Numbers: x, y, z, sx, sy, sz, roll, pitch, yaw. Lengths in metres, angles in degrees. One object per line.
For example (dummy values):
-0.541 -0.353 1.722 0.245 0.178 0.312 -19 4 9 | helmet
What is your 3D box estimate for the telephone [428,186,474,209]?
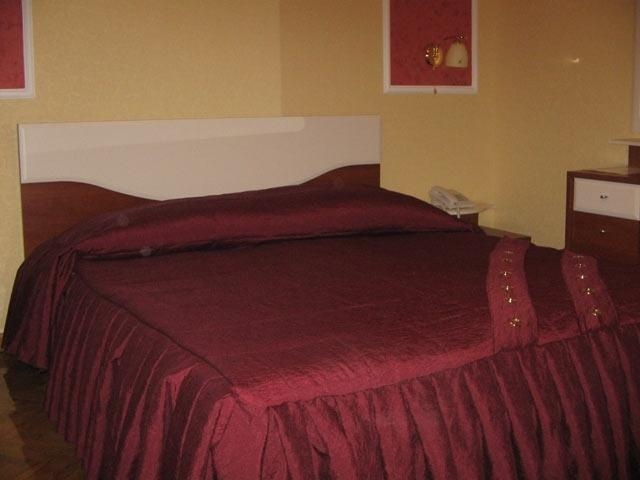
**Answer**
0.901 -0.327 3.470 0.175 0.088 0.235 -9 19 -38 | telephone
